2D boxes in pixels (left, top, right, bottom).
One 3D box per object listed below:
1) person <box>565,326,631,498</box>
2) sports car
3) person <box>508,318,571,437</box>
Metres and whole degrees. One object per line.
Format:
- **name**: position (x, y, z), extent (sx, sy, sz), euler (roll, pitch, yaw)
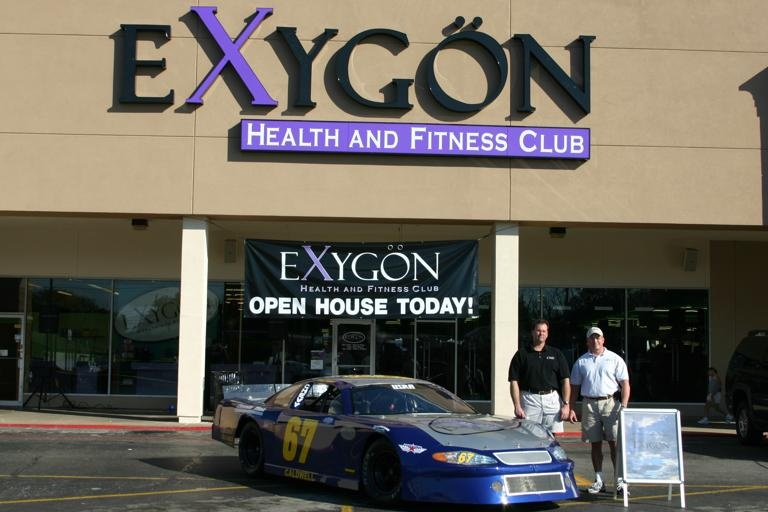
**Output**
- **person**: position (4.335, 3.078, 18.681), extent (1.142, 3.343, 0.859), euler (-4, -10, 22)
- **sports car**: position (0.200, 3.593, 18.341), extent (6.676, 2.380, 1.957), euler (-7, -13, 33)
- **person**: position (3.154, 2.478, 19.073), extent (0.859, 2.501, 1.074), euler (0, -2, 5)
